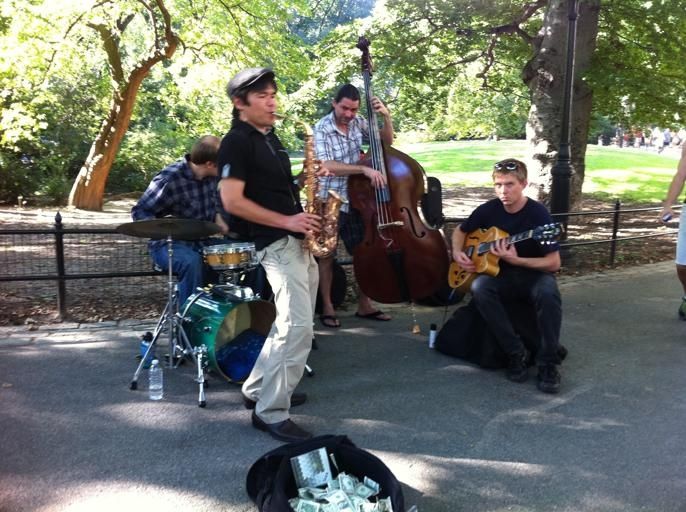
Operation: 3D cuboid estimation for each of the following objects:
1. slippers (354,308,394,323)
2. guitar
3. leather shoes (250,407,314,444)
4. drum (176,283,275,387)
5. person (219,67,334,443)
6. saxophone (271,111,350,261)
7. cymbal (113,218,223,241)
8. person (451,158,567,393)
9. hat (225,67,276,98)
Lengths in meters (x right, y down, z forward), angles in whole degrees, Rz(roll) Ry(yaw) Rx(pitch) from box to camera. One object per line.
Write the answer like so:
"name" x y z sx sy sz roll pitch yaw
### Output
"slippers" 0.383 0.764 6.875 0.433 0.075 0.153 1 12 17
"guitar" 1.481 -0.024 5.281 0.181 0.456 1.178 23 -18 -22
"leather shoes" -0.486 1.306 4.091 0.524 0.149 0.178 9 -1 32
"drum" -1.031 0.716 5.086 0.916 0.721 0.733 -11 17 -36
"person" -0.574 -0.068 4.339 1.039 2.678 1.228 -2 15 -19
"saxophone" -0.221 -0.553 4.283 0.650 1.064 0.598 2 12 -28
"cymbal" -1.558 -0.239 4.784 0.892 0.203 0.477 -1 5 -11
"person" 1.623 0.119 5.228 1.198 2.162 0.797 4 8 30
"hat" -0.696 -1.275 3.917 0.316 0.085 0.234 -20 -1 35
